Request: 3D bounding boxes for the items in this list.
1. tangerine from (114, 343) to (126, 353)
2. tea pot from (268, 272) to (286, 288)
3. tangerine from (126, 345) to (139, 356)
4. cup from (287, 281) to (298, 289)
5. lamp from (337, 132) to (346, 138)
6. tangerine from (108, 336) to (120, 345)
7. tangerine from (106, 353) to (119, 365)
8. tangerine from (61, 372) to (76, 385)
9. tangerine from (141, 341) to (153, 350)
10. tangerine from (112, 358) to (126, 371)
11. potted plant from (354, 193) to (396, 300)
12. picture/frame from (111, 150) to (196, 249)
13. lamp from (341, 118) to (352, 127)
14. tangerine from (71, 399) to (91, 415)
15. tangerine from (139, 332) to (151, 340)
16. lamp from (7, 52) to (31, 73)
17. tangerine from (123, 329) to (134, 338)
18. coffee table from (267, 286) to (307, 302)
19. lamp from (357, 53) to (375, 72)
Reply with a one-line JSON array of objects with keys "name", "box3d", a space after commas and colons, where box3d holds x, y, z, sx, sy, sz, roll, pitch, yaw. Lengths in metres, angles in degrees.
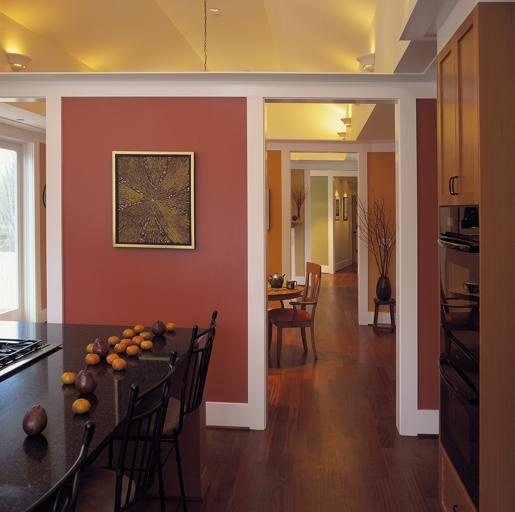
[{"name": "tangerine", "box3d": [-0.667, 0.445, 2.255, 0.041, 0.039, 0.044, 9, 13, 27]}, {"name": "tea pot", "box3d": [0.210, 0.267, 5.296, 0.181, 0.171, 0.320, 1, 4, 1]}, {"name": "tangerine", "box3d": [-0.604, 0.449, 2.240, 0.042, 0.049, 0.047, 4, -1, -4]}, {"name": "cup", "box3d": [0.379, 0.315, 5.202, 0.067, 0.079, 0.093, -3, -5, 29]}, {"name": "lamp", "box3d": [1.425, -2.086, 7.876, 0.092, 0.081, 0.095, -1, 0, 17]}, {"name": "tangerine", "box3d": [-0.737, 0.425, 2.358, 0.040, 0.034, 0.046, 2, 1, -15]}, {"name": "tangerine", "box3d": [-0.668, 0.463, 2.132, 0.048, 0.061, 0.054, 0, 0, 9]}, {"name": "tangerine", "box3d": [-0.741, 0.481, 1.818, 0.047, 0.053, 0.053, 3, -4, 2]}, {"name": "tangerine", "box3d": [-0.552, 0.448, 2.339, 0.071, 0.040, 0.074, -1, 5, -30]}, {"name": "tangerine", "box3d": [-0.598, 0.469, 2.003, 0.045, 0.051, 0.049, 4, -2, -24]}, {"name": "potted plant", "box3d": [1.685, -0.107, 6.679, 0.535, 1.457, 0.556, 2, 4, 19]}, {"name": "picture/frame", "box3d": [-0.788, -0.426, 3.520, 0.587, 0.812, 0.022, -3, 37, -17]}, {"name": "lamp", "box3d": [1.441, -2.194, 7.493, 0.135, 0.172, 0.295, 2, 4, 15]}, {"name": "tangerine", "box3d": [-0.595, 0.496, 1.565, 0.044, 0.046, 0.053, 7, 10, -23]}, {"name": "tangerine", "box3d": [-0.587, 0.416, 2.448, 0.039, 0.033, 0.043, 2, 1, -17]}, {"name": "lamp", "box3d": [-2.319, -1.888, 4.464, 0.209, 0.128, 0.253, -3, 6, -43]}, {"name": "tangerine", "box3d": [-0.704, 0.422, 2.546, 0.035, 0.035, 0.054, 1, 3, -1]}, {"name": "coffee table", "box3d": [0.300, 0.450, 5.061, 0.398, 0.185, 0.666, 2, 5, 7]}, {"name": "lamp", "box3d": [1.020, -1.867, 4.411, 0.178, 0.163, 0.157, 2, 8, 20]}]
